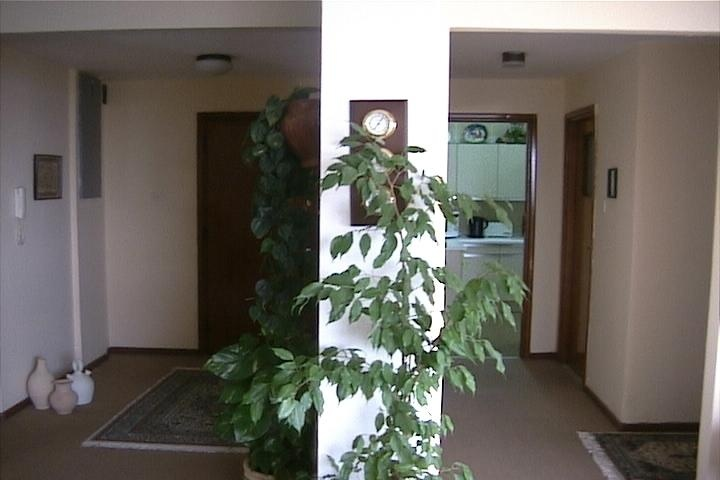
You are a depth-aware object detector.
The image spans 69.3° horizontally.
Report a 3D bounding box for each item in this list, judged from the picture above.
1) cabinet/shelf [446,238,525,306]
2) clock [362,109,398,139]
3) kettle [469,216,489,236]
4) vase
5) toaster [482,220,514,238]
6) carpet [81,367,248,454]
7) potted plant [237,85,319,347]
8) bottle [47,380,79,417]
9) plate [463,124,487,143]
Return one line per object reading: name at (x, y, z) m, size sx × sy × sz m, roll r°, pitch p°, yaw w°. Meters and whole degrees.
cabinet/shelf at (1.061, 0.158, 4.437) m, size 0.642 × 0.342 × 0.421 m, roll 1°, pitch 4°, yaw 9°
clock at (0.081, -0.489, 2.181) m, size 0.146 × 0.126 × 0.053 m, roll 0°, pitch 4°, yaw -1°
kettle at (1.081, -0.126, 4.738) m, size 0.164 × 0.194 × 0.135 m, roll 1°, pitch 4°, yaw 13°
vase at (-1.594, 0.764, 2.777) m, size 0.356 × 0.342 × 0.228 m, roll 5°, pitch -9°, yaw -37°
toaster at (1.120, -0.089, 4.269) m, size 0.150 × 0.099 × 0.081 m, roll 0°, pitch -13°, yaw 3°
carpet at (-1.039, 0.923, 2.747) m, size 0.518 × 0.039 × 0.560 m, roll 2°, pitch 14°, yaw 3°
potted plant at (-0.383, -0.095, 2.484) m, size 0.342 × 1.185 × 0.191 m, roll 0°, pitch 4°, yaw -1°
bottle at (-1.575, 0.823, 2.760) m, size 0.161 × 0.193 × 0.171 m, roll -2°, pitch -4°, yaw -2°
plate at (0.948, -0.870, 4.278) m, size 0.160 × 0.164 × 0.039 m, roll -3°, pitch 7°, yaw 5°
